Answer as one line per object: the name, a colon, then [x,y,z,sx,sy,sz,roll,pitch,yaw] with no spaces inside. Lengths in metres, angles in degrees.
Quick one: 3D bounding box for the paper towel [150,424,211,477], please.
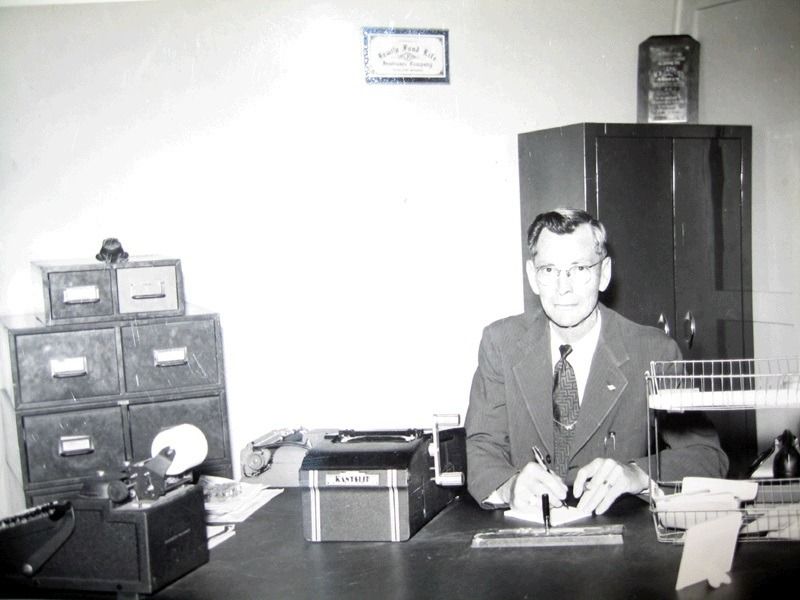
paper towel: [-0.694,0.489,2.278,0.173,0.147,0.150,-21,-19,15]
